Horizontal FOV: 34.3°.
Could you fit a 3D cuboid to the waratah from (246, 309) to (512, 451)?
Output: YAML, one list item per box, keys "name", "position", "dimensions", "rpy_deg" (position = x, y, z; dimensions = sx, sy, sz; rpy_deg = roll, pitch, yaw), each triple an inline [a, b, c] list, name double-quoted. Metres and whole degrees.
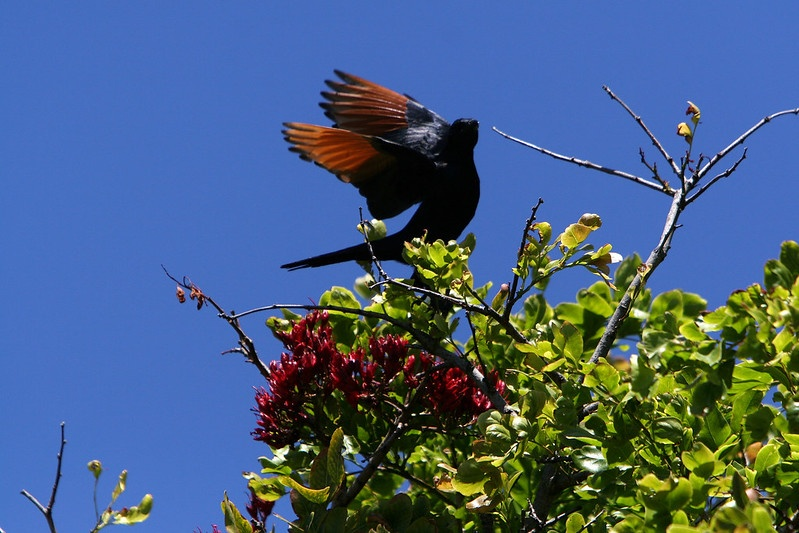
- name: "waratah"
  position: [-0.126, 0.505, 5.761]
  dimensions: [0.900, 0.368, 0.853]
  rpy_deg: [1, -5, -6]

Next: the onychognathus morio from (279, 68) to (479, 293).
- name: "onychognathus morio"
  position: [-0.082, -0.560, 6.459]
  dimensions: [0.894, 1.044, 0.631]
  rpy_deg: [3, -49, -10]
